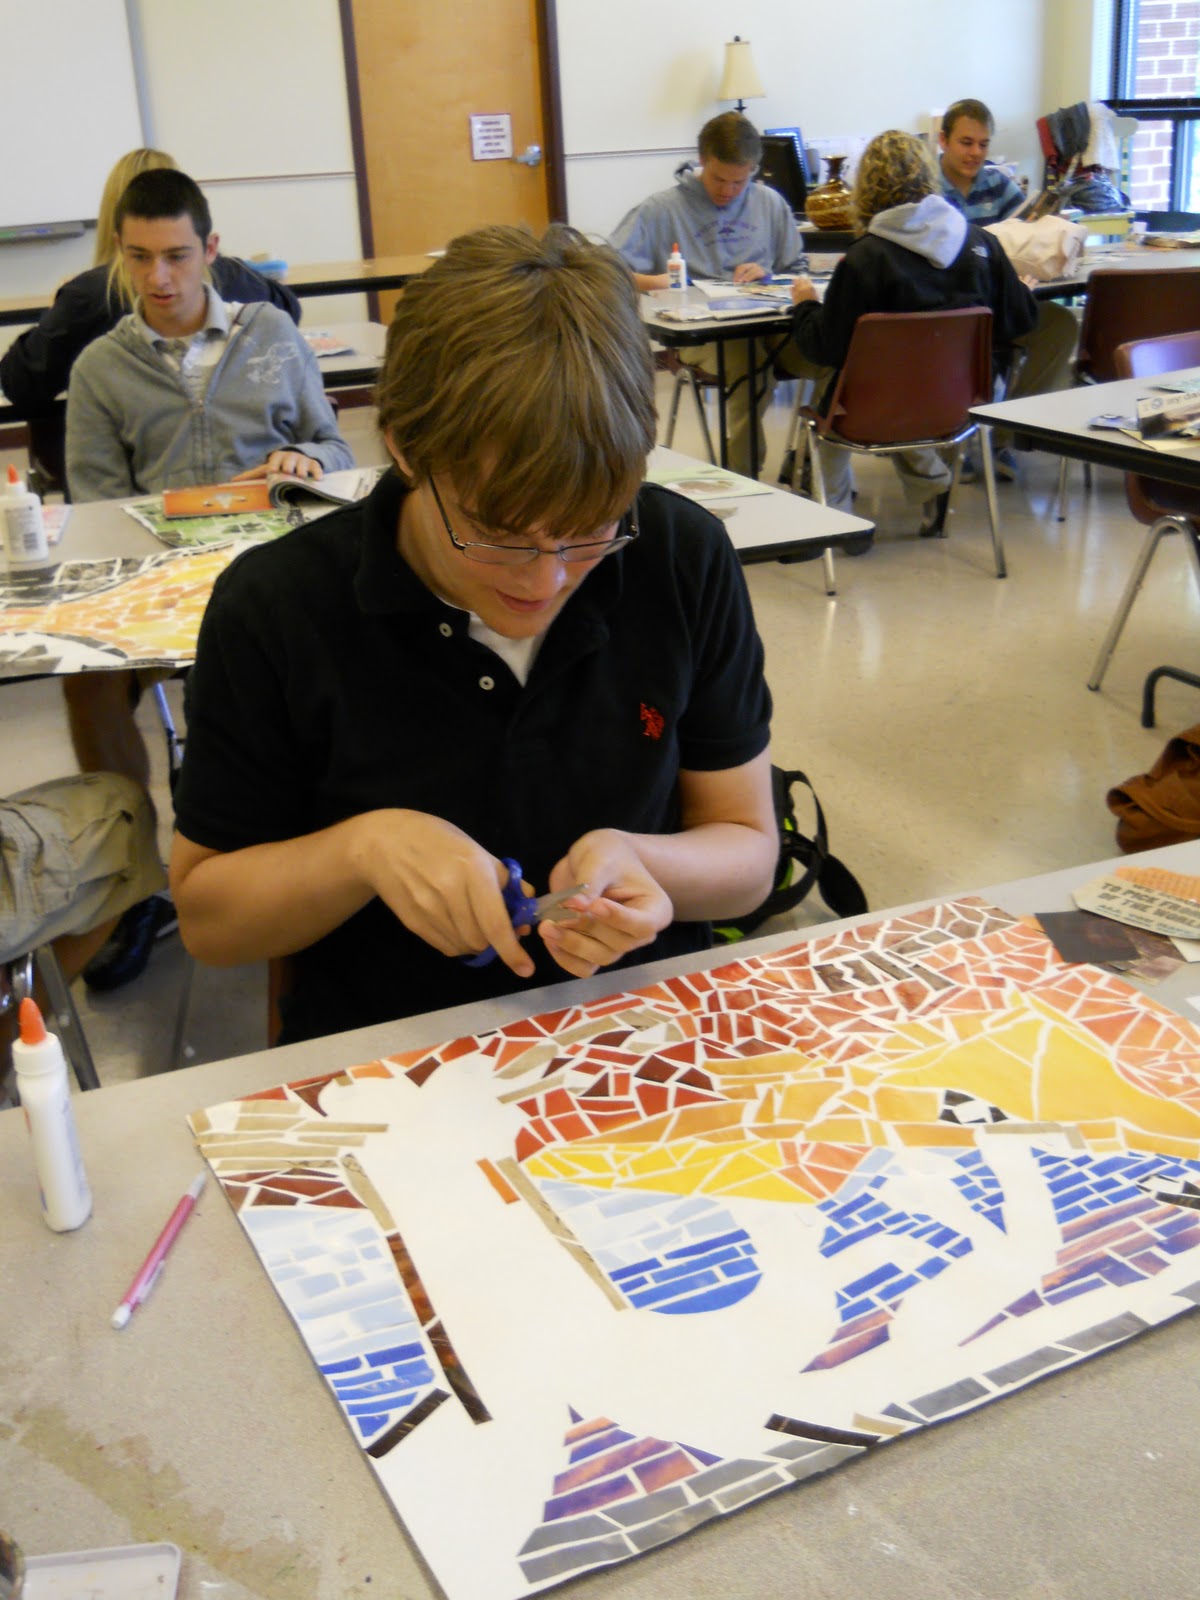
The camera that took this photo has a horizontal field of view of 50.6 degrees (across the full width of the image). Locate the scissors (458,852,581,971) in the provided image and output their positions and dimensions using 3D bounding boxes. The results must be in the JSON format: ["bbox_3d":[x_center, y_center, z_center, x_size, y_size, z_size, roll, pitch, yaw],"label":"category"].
[{"bbox_3d":[-0.066,0.083,1.001,0.073,0.079,0.080,23,34,33],"label":"scissors"}]

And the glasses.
[{"bbox_3d":[-0.045,-0.191,0.870,0.139,0.065,0.080,-7,17,-6],"label":"glasses"}]

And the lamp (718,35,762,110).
[{"bbox_3d":[0.789,-4.150,7.233,0.231,0.377,0.344,-3,18,8],"label":"lamp"}]

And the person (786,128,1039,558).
[{"bbox_3d":[1.053,-1.622,4.544,0.833,1.297,0.712,16,35,20],"label":"person"}]
